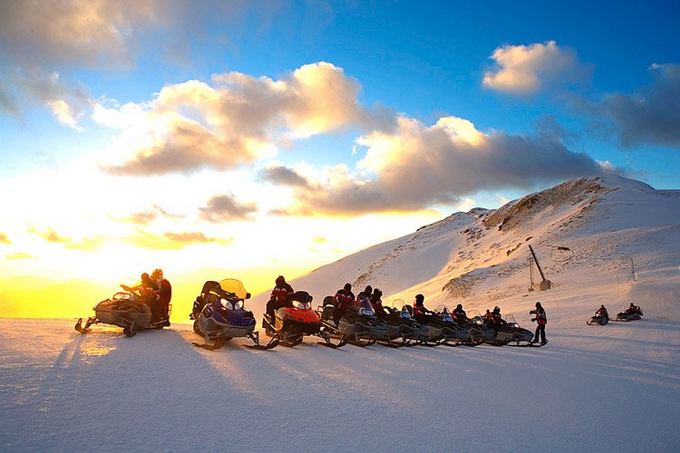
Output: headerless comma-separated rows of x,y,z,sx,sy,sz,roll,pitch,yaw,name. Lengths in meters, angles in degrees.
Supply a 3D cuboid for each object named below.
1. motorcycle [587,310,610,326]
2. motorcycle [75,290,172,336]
15.899,5.674,29.278,1.007,0.922,0.466,-15,23,-18,motorcycle
-7.352,3.175,17.067,1.662,1.037,2.839,-6,-14,22,motorcycle
